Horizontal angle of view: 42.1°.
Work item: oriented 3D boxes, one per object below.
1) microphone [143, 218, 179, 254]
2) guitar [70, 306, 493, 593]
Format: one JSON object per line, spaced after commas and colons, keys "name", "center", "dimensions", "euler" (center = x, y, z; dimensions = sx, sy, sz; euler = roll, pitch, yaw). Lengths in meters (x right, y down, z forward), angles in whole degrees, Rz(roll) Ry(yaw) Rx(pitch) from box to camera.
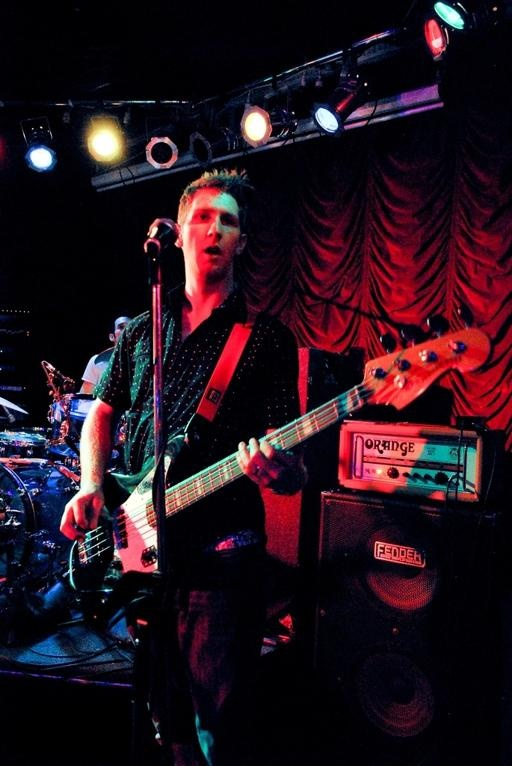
{"name": "microphone", "center": [-0.258, -0.404, 1.827], "dimensions": [0.086, 0.126, 0.139], "euler": [-1, 1, -6]}
{"name": "guitar", "center": [-0.048, 0.349, 2.228], "dimensions": [1.775, 0.594, 0.191], "euler": [-27, -32, 26]}
